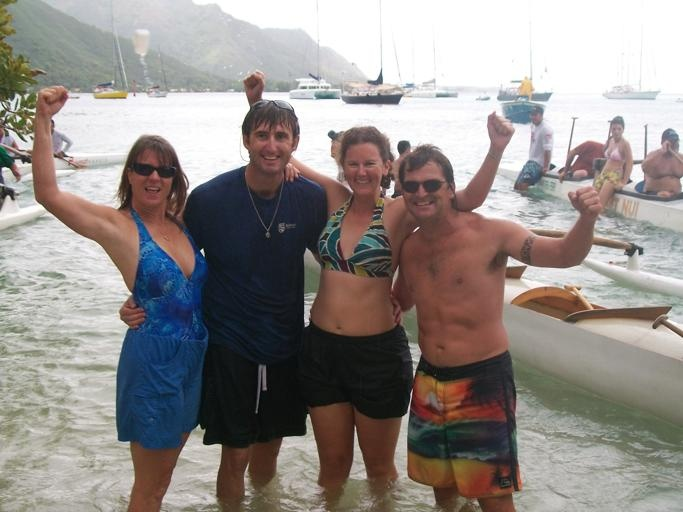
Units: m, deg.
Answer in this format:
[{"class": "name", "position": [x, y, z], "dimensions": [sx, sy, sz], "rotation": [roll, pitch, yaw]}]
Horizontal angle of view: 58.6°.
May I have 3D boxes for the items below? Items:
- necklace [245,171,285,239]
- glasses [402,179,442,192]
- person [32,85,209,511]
[{"class": "necklace", "position": [-0.552, -0.331, 4.484], "dimensions": [0.281, 0.394, 0.190], "rotation": [-2, 12, -8]}, {"class": "glasses", "position": [0.558, -0.479, 4.207], "dimensions": [0.251, 0.094, 0.071], "rotation": [0, 11, 0]}, {"class": "person", "position": [-1.390, 0.309, 4.130], "dimensions": [0.983, 2.799, 0.681], "rotation": [-7, 14, -30]}]
